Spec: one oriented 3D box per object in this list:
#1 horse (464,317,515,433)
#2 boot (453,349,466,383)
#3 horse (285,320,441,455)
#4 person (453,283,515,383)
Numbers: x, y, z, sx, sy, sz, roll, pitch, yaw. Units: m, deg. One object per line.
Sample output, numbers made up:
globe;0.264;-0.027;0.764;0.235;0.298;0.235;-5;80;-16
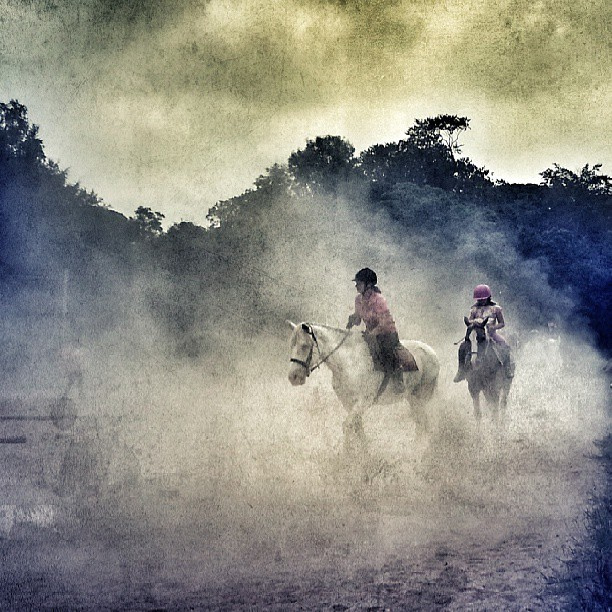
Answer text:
horse;2.999;1.076;20.883;0.801;1.875;1.024;2;8;10
boot;2.506;0.983;20.619;0.182;0.540;0.346;2;8;8
horse;1.060;1.231;18.894;2.523;2.332;0.795;-3;9;-23
person;3.138;0.523;22.820;1.166;2.405;1.081;-5;-17;22
